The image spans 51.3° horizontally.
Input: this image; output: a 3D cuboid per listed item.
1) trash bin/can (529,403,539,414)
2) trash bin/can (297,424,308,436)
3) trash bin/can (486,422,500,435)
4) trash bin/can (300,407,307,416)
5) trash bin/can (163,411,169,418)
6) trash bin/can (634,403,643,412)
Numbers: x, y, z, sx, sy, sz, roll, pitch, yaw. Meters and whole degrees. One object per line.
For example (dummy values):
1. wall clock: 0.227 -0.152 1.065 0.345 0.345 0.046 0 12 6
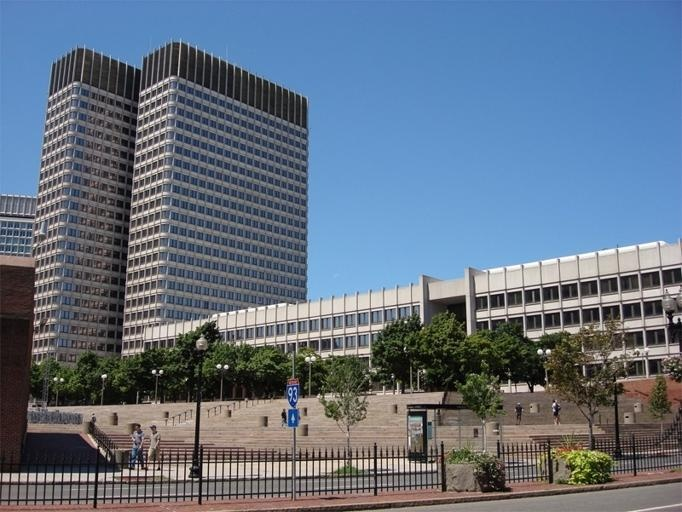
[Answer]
1. trash bin/can: 17.906 14.071 65.788 0.932 0.947 0.513 -9 -17 39
2. trash bin/can: -3.149 13.951 56.922 0.973 0.982 0.735 1 -17 -5
3. trash bin/can: 11.282 12.699 52.572 1.006 0.979 1.020 -5 -6 38
4. trash bin/can: -3.611 15.089 68.904 0.486 0.673 0.688 -4 -9 24
5. trash bin/can: -20.353 18.347 82.395 0.554 0.856 1.252 3 -14 -20
6. trash bin/can: 27.639 14.086 65.993 0.557 1.033 1.047 -6 -12 36
